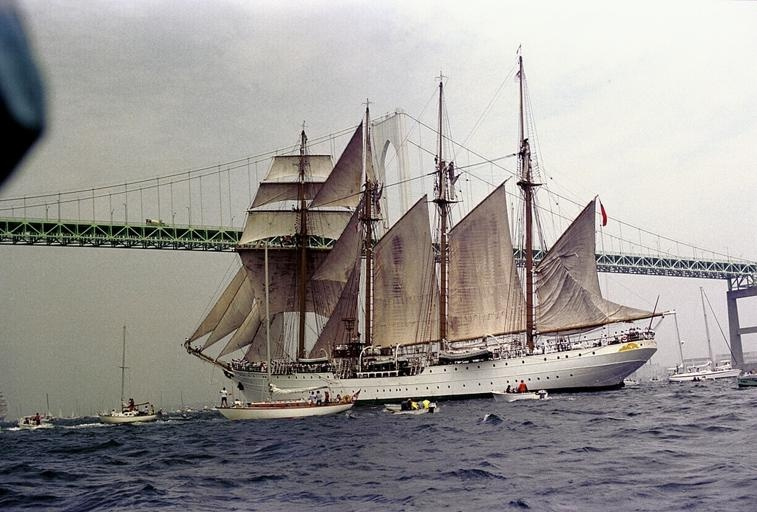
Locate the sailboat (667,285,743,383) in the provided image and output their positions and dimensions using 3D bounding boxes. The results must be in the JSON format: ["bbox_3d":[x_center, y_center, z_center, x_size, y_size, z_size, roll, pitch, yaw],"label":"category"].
[{"bbox_3d":[29.425,7.784,98.129,6.761,1.706,8.365,-7,-60,19],"label":"sailboat"}]

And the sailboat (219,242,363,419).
[{"bbox_3d":[-6.262,5.085,73.822,9.086,13.116,8.565,-3,-13,8],"label":"sailboat"}]
